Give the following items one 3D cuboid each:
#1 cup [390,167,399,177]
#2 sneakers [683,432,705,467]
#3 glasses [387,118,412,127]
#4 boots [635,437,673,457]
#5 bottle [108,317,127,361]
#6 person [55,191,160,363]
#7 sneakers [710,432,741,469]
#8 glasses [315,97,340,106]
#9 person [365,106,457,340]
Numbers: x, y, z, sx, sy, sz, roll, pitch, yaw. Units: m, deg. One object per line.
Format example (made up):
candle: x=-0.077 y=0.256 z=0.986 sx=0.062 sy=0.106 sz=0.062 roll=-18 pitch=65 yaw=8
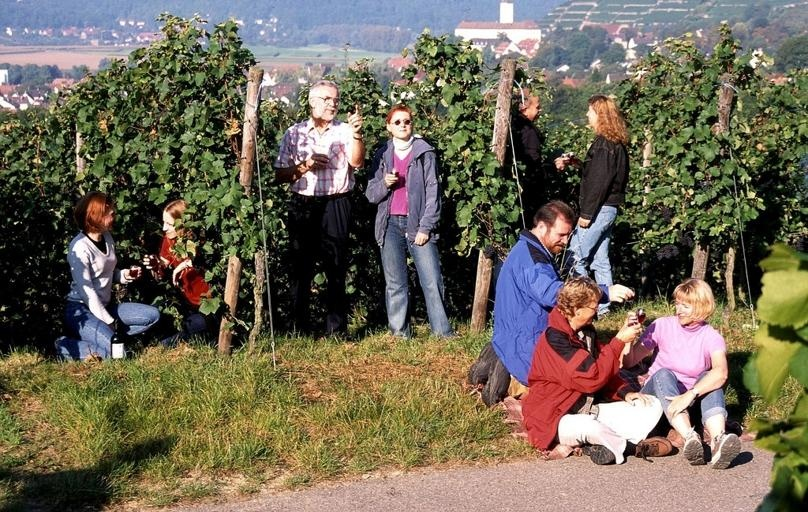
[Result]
cup: x=-0.130 y=-0.920 z=9.794 sx=0.086 sy=0.088 sz=0.154 roll=2 pitch=0 yaw=-3
sneakers: x=2.579 y=1.707 z=7.940 sx=0.133 sy=0.354 sz=0.150 roll=-3 pitch=41 yaw=8
glasses: x=-0.046 y=-1.469 z=9.829 sx=0.253 sy=0.072 sz=0.107 roll=-1 pitch=13 yaw=-1
boots: x=2.274 y=1.755 z=8.127 sx=0.233 sy=0.128 sz=0.205 roll=-10 pitch=0 yaw=-11
bottle: x=-2.976 y=0.864 z=9.290 sx=0.149 sy=0.302 sz=0.433 roll=-4 pitch=13 yaw=-17
person: x=-3.190 y=0.188 z=9.330 sx=0.821 sy=1.692 sz=0.744 roll=6 pitch=14 yaw=25
sneakers: x=2.843 y=1.721 z=7.936 sx=0.171 sy=0.409 sz=0.189 roll=10 pitch=44 yaw=-18
glasses: x=-0.809 y=-1.664 z=9.602 sx=0.242 sy=0.103 sz=0.099 roll=-6 pitch=14 yaw=-23
person: x=0.055 y=-0.380 z=9.999 sx=0.924 sy=2.568 sz=0.490 roll=0 pitch=12 yaw=2
